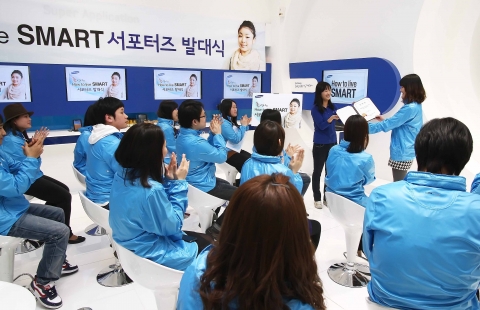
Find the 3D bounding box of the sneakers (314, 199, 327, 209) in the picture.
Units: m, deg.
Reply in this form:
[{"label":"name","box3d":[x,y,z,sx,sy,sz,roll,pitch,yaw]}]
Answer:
[{"label":"sneakers","box3d":[1.276,0.796,5.088,0.089,0.102,0.250,-2,0,-2]}]

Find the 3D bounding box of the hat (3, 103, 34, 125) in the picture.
[{"label":"hat","box3d":[-2.421,-0.471,3.511,0.253,0.151,0.281,-15,16,48]}]

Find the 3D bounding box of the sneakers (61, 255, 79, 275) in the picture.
[{"label":"sneakers","box3d":[-1.845,1.238,3.536,0.230,0.162,0.089,-1,5,-23]}]

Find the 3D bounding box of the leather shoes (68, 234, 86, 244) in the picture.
[{"label":"leather shoes","box3d":[-2.048,1.072,4.058,0.214,0.087,0.078,-3,13,-21]}]
